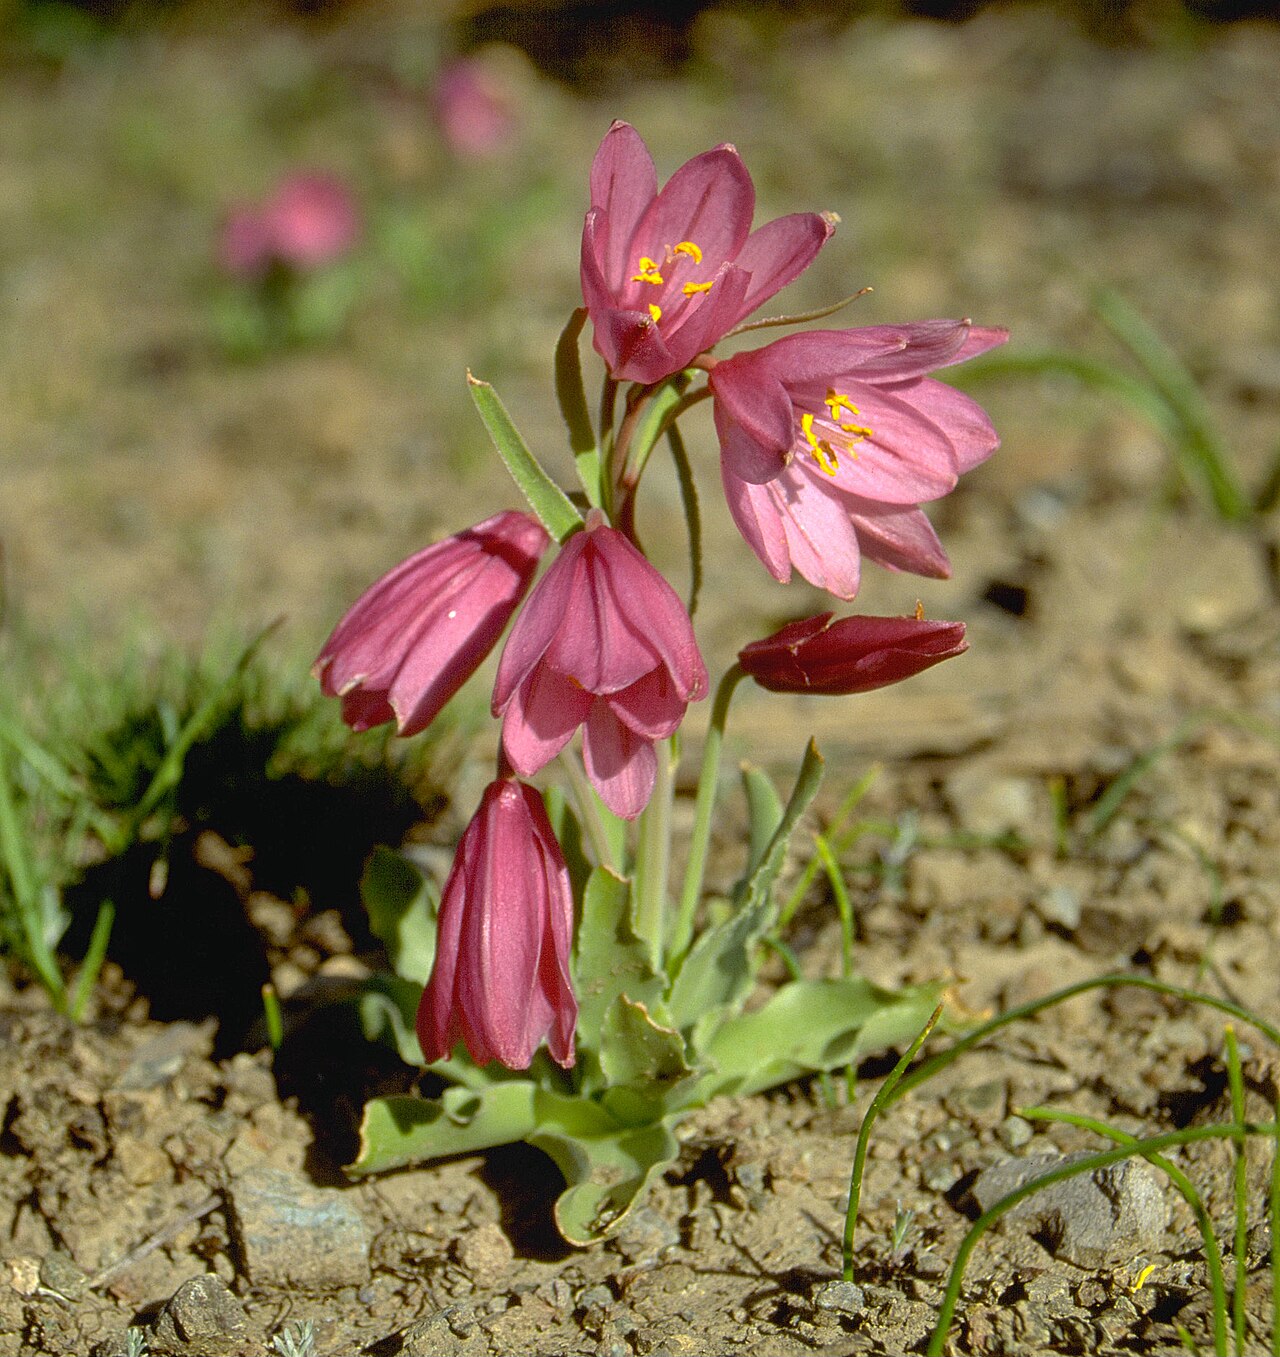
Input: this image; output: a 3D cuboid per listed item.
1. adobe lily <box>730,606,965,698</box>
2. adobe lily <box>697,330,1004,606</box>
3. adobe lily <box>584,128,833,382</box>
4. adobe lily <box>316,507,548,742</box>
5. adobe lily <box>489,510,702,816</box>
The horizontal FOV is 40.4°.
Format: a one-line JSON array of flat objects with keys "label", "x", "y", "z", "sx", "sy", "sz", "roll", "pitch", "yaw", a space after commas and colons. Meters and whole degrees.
[{"label": "adobe lily", "x": 0.234, "y": -0.032, "z": 1.975, "sx": 0.242, "sy": 0.065, "sz": 0.094, "roll": -3, "pitch": 13, "yaw": 24}, {"label": "adobe lily", "x": 0.197, "y": -0.249, "z": 1.991, "sx": 0.303, "sy": 0.267, "sz": 0.212, "roll": -10, "pitch": 12, "yaw": 46}, {"label": "adobe lily", "x": 0.029, "y": -0.443, "z": 1.985, "sx": 0.260, "sy": 0.267, "sz": 0.262, "roll": 29, "pitch": 0, "yaw": 3}, {"label": "adobe lily", "x": -0.211, "y": -0.069, "z": 2.008, "sx": 0.163, "sy": 0.111, "sz": 0.296, "roll": 41, "pitch": 81, "yaw": 8}, {"label": "adobe lily", "x": -0.036, "y": -0.014, "z": 1.779, "sx": 0.280, "sy": 0.286, "sz": 0.132, "roll": -1, "pitch": -2, "yaw": -5}]
